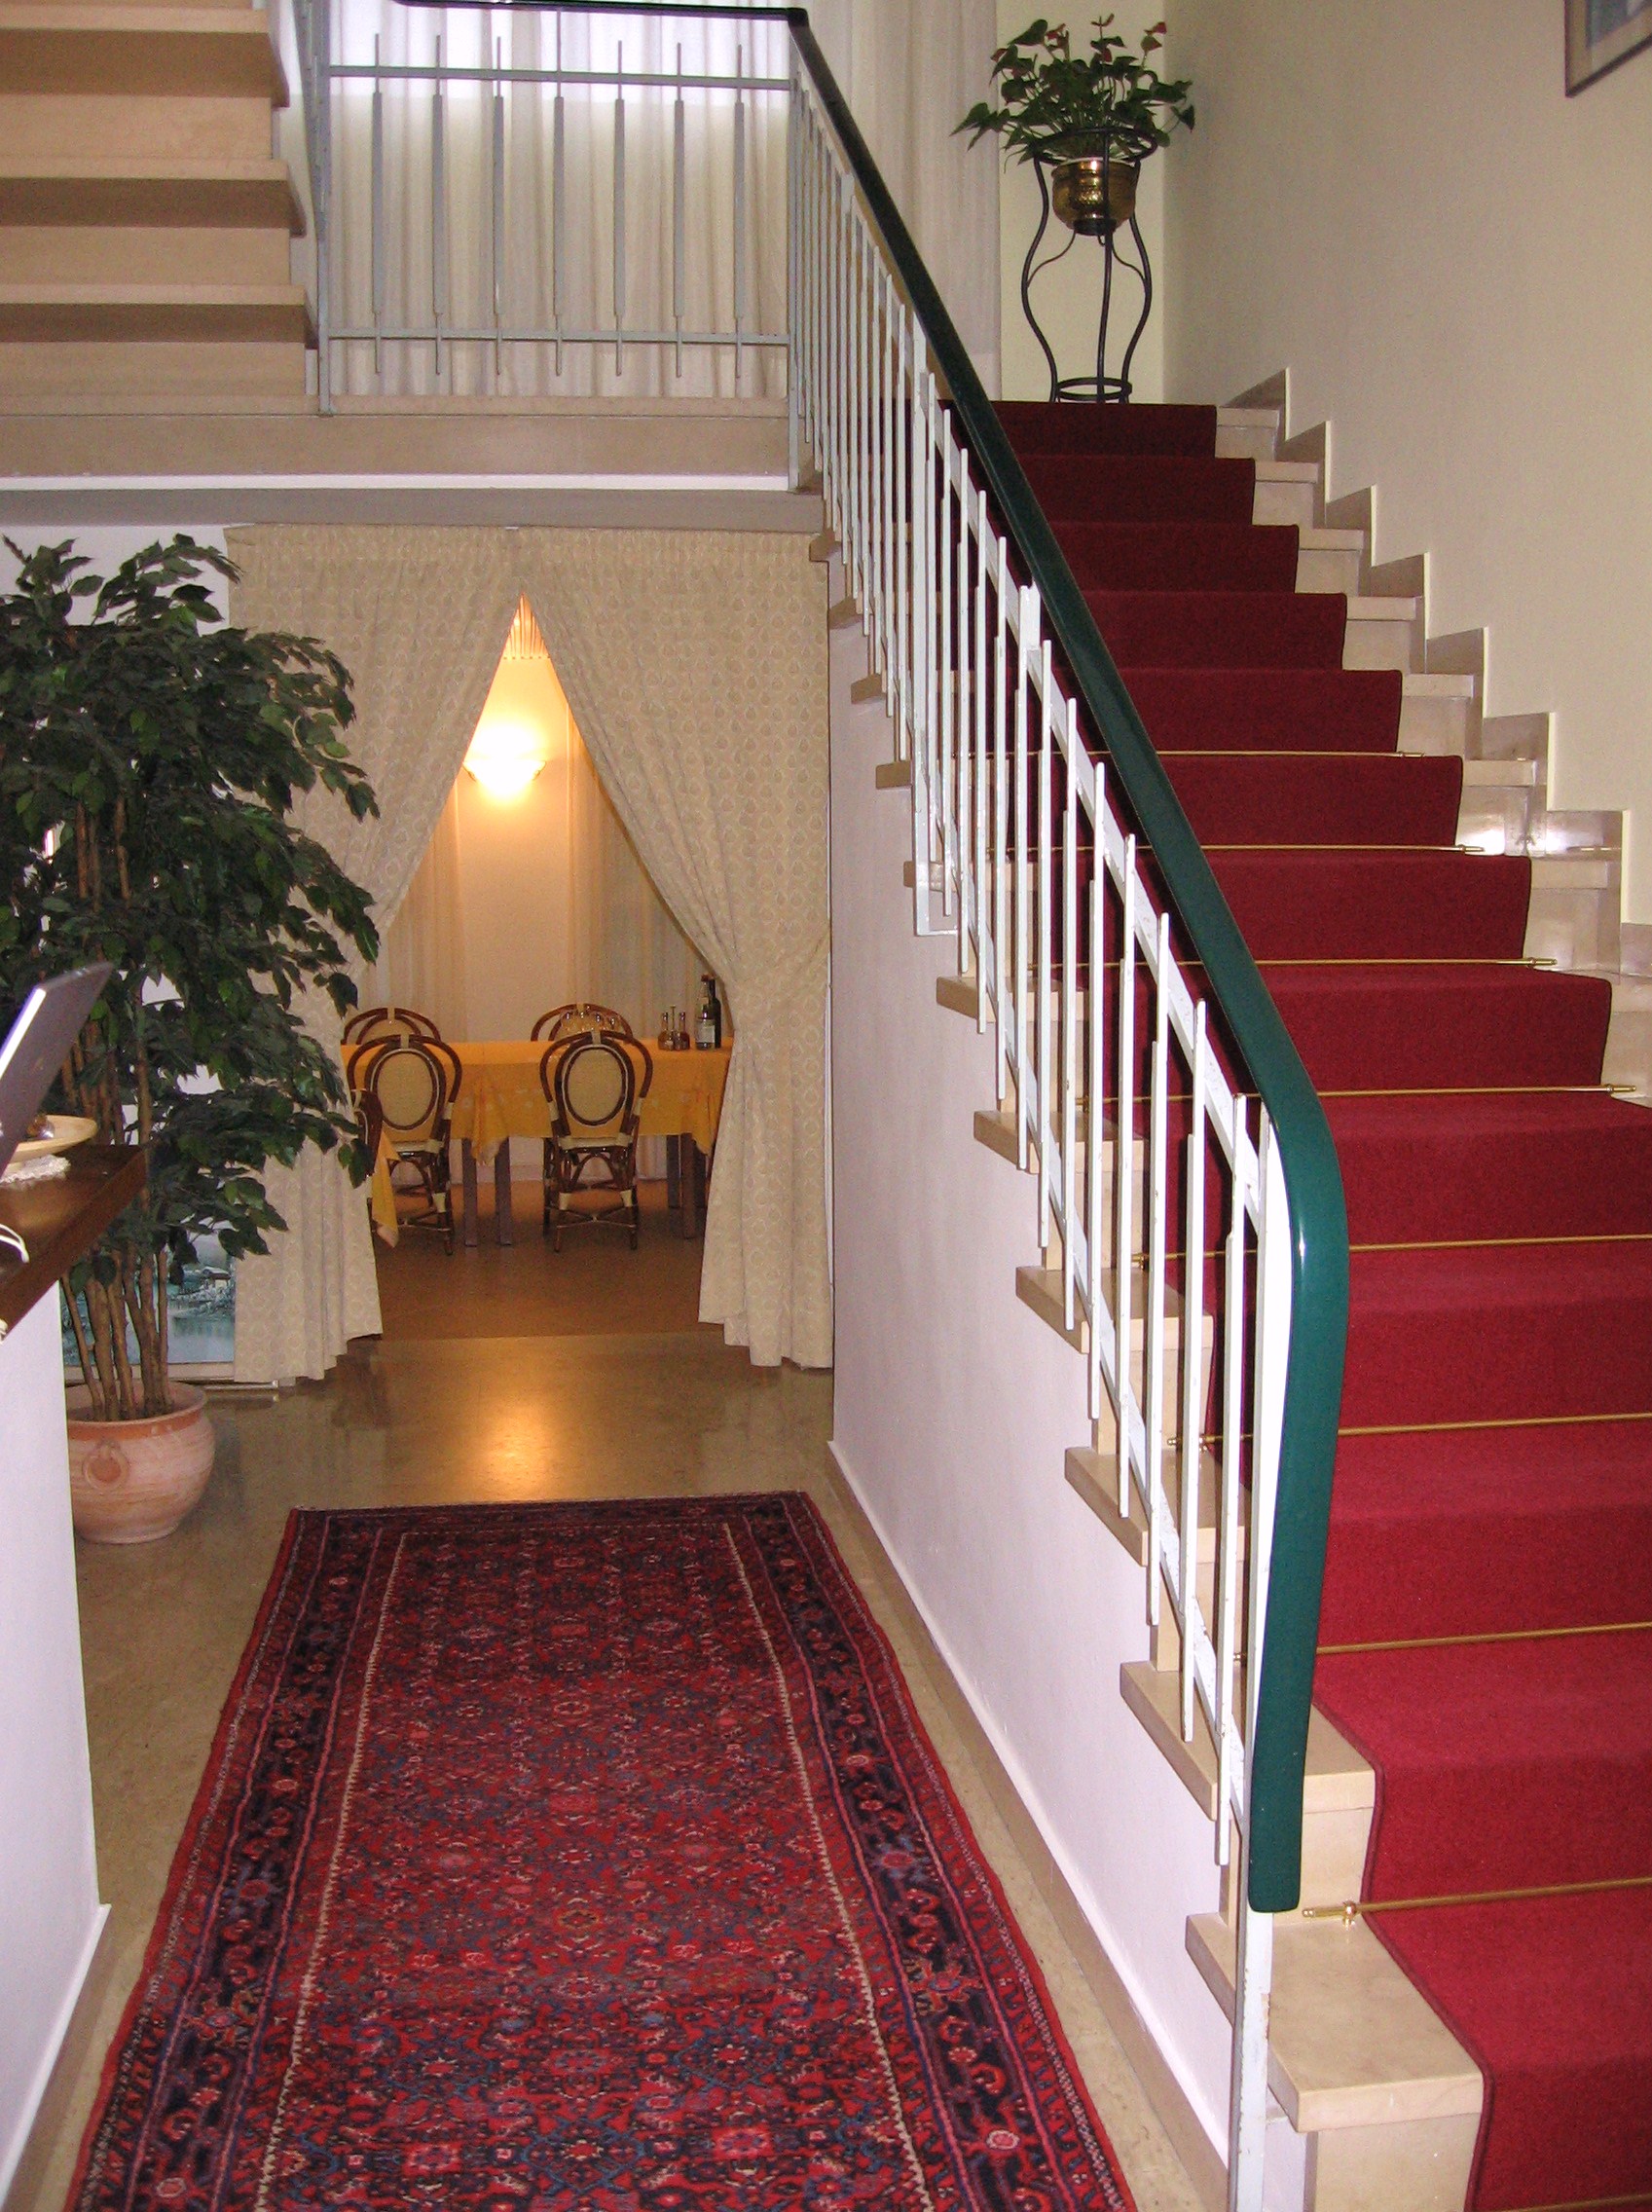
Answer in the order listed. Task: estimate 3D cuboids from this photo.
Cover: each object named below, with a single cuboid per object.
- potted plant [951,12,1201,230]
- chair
[{"bbox_3d":[0.745,-2.726,4.903,0.784,0.765,0.945,1,27,11],"label":"potted plant"},{"bbox_3d":[-1.457,0.087,7.329,1.245,1.007,1.587,-1,4,-15],"label":"chair"}]
